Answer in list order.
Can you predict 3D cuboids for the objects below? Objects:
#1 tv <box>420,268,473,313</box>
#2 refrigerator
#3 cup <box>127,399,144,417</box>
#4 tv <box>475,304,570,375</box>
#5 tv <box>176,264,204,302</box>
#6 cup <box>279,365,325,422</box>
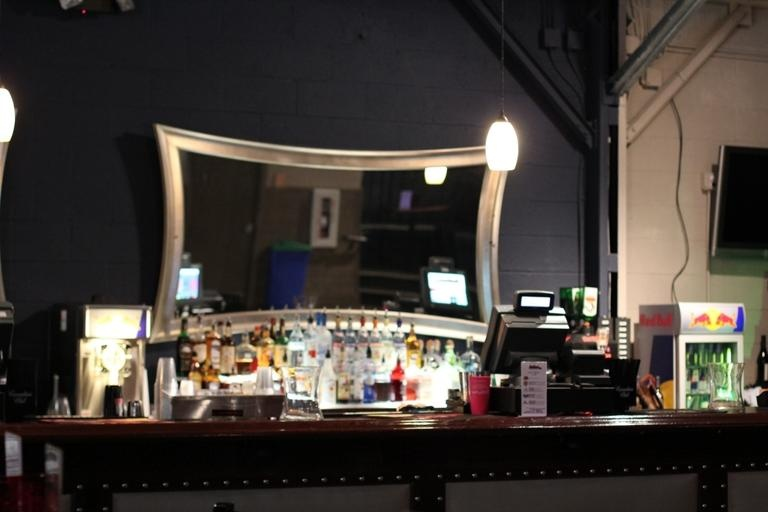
[{"bbox_3d":[0.463,0.268,8.476,0.291,0.276,0.110,3,-11,-17],"label":"tv"},{"bbox_3d":[2.403,0.843,8.637,0.618,0.949,0.583,1,1,-43],"label":"refrigerator"},{"bbox_3d":[-1.586,0.971,6.999,0.093,0.097,0.099,0,-8,0],"label":"cup"},{"bbox_3d":[0.943,0.516,7.201,0.413,0.428,0.427,3,-29,-11],"label":"tv"},{"bbox_3d":[-1.499,0.194,8.040,0.152,0.302,0.299,5,3,32],"label":"tv"},{"bbox_3d":[-0.514,0.841,6.641,0.293,0.362,0.274,0,-12,0],"label":"cup"}]
